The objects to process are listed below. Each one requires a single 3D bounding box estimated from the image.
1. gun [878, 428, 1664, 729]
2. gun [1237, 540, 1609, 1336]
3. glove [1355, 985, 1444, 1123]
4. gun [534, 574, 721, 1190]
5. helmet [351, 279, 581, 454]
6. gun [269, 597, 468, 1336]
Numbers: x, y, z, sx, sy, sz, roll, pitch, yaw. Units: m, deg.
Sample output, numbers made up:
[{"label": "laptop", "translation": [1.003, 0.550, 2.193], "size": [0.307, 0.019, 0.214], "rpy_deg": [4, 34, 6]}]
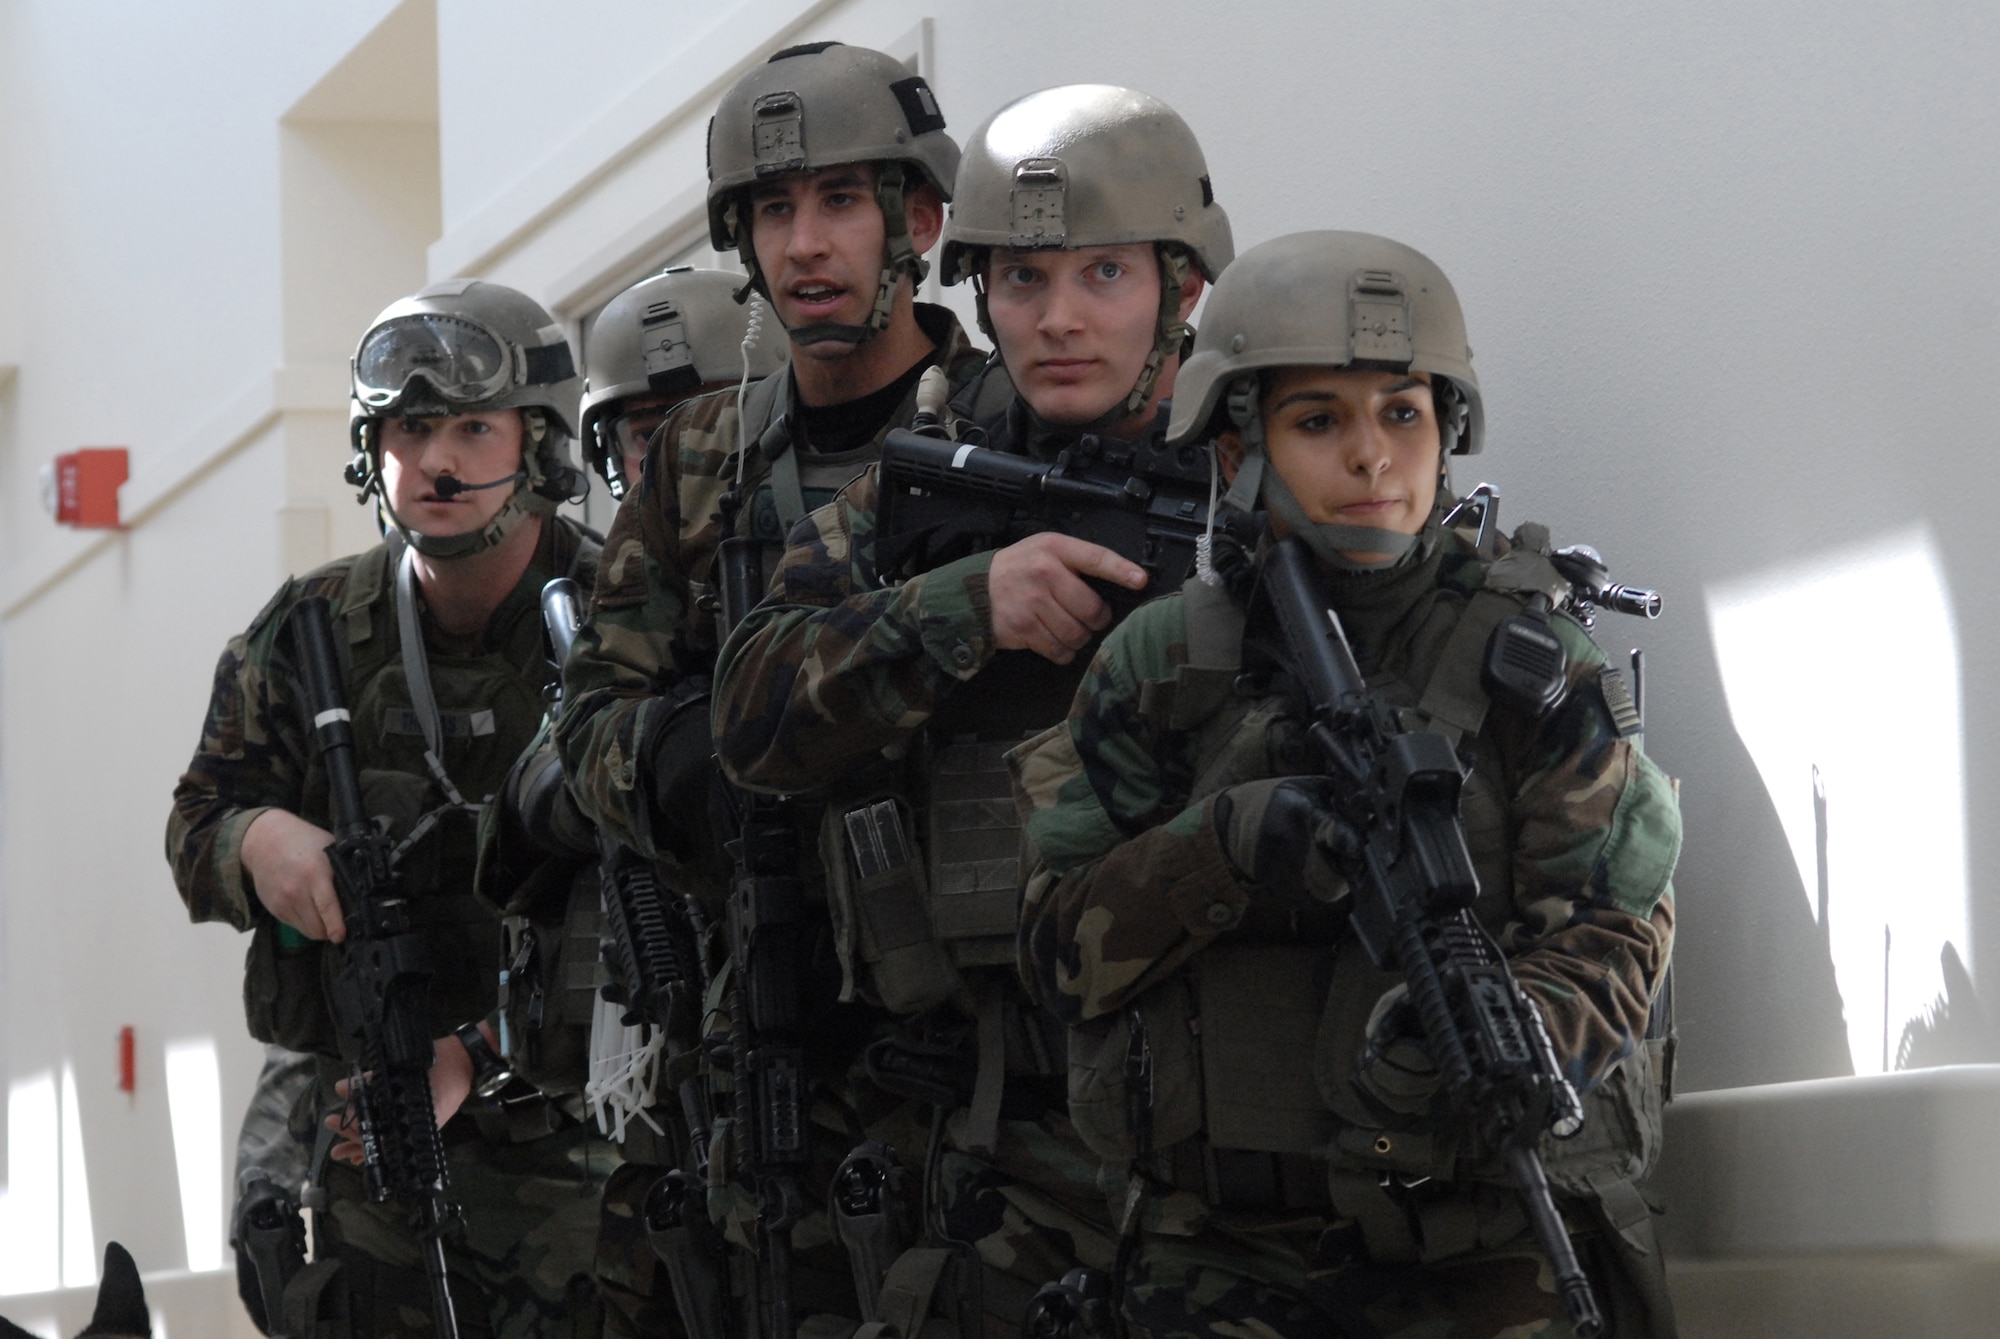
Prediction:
[{"label": "gun", "translation": [0.453, -0.154, 4.209], "size": [1.297, 0.593, 0.195], "rpy_deg": [18, 4, 28]}, {"label": "gun", "translation": [0.720, 0.516, 3.853], "size": [0.210, 1.324, 0.478], "rpy_deg": [-11, -24, -10]}, {"label": "glove", "translation": [0.669, 0.663, 3.835], "size": [0.150, 0.215, 0.185], "rpy_deg": [8, -25, 0]}, {"label": "gun", "translation": [-0.820, 0.383, 5.421], "size": [0.317, 1.614, 0.565], "rpy_deg": [-3, -5, -7]}, {"label": "helmet", "translation": [-1.459, -0.844, 6.334], "size": [0.465, 0.366, 0.513], "rpy_deg": [-2, -11, 6]}, {"label": "gun", "translation": [-1.634, 0.775, 5.911], "size": [0.244, 1.956, 0.665], "rpy_deg": [-3, -15, -31]}]
